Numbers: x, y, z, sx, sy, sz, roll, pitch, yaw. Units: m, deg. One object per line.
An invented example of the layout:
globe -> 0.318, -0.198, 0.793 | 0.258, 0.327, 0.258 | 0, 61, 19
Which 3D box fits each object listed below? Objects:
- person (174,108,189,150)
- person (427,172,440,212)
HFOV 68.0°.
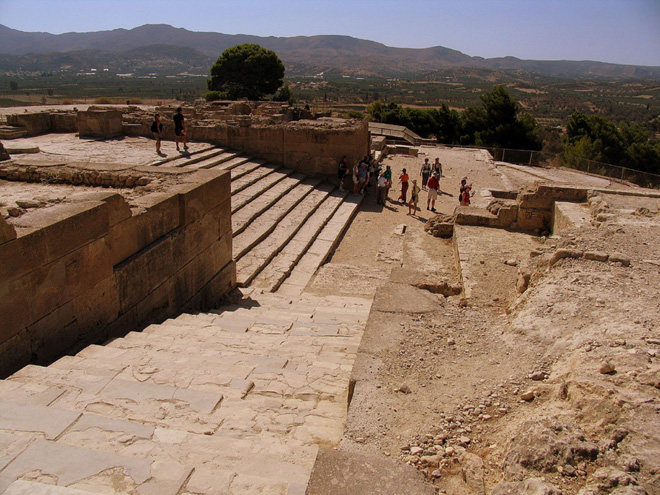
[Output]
person -> -4.225, -3.390, 13.895 | 0.356, 1.146, 1.784 | -2, 18, -16
person -> 3.071, -1.678, 14.633 | 0.287, 1.120, 0.994 | 7, 18, 11
